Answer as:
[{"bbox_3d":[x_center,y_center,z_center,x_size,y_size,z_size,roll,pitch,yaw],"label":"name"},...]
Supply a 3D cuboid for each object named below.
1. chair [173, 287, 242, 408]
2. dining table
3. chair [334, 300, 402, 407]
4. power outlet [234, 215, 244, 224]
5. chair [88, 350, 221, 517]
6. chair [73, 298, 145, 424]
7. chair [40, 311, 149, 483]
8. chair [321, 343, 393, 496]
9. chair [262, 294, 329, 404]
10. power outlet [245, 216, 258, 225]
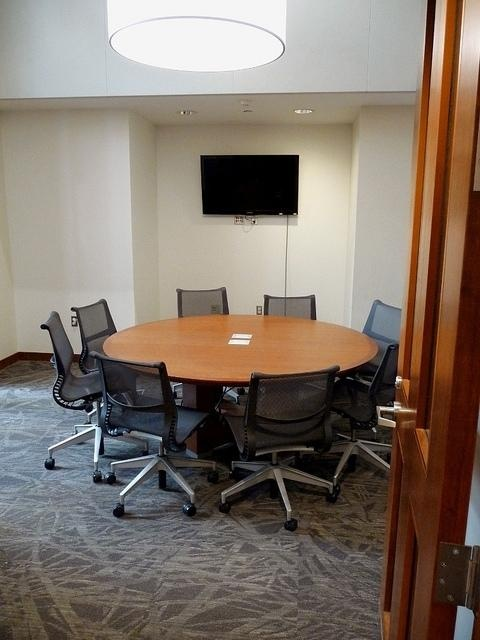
[{"bbox_3d":[-0.356,0.159,4.853,0.748,1.325,0.837,-2,14,-8],"label":"chair"},{"bbox_3d":[0.004,0.496,3.664,1.813,0.760,1.931,-2,11,-13],"label":"dining table"},{"bbox_3d":[0.944,0.271,3.874,0.466,0.767,0.513,6,13,7],"label":"chair"},{"bbox_3d":[-0.006,-1.228,6.115,0.079,0.090,0.011,1,2,0],"label":"power outlet"},{"bbox_3d":[-0.502,0.580,2.823,0.613,0.940,0.634,8,17,27],"label":"chair"},{"bbox_3d":[-1.008,0.330,3.855,0.543,0.887,0.554,18,14,20],"label":"chair"},{"bbox_3d":[-0.996,0.458,3.367,0.616,0.938,0.627,2,9,-3],"label":"chair"},{"bbox_3d":[0.702,0.615,3.037,0.528,0.898,0.619,1,18,5],"label":"chair"},{"bbox_3d":[0.357,0.179,3.287,0.464,0.906,0.596,0,13,-1],"label":"chair"},{"bbox_3d":[0.140,-1.212,6.093,0.088,0.116,0.033,-1,4,10],"label":"power outlet"}]
